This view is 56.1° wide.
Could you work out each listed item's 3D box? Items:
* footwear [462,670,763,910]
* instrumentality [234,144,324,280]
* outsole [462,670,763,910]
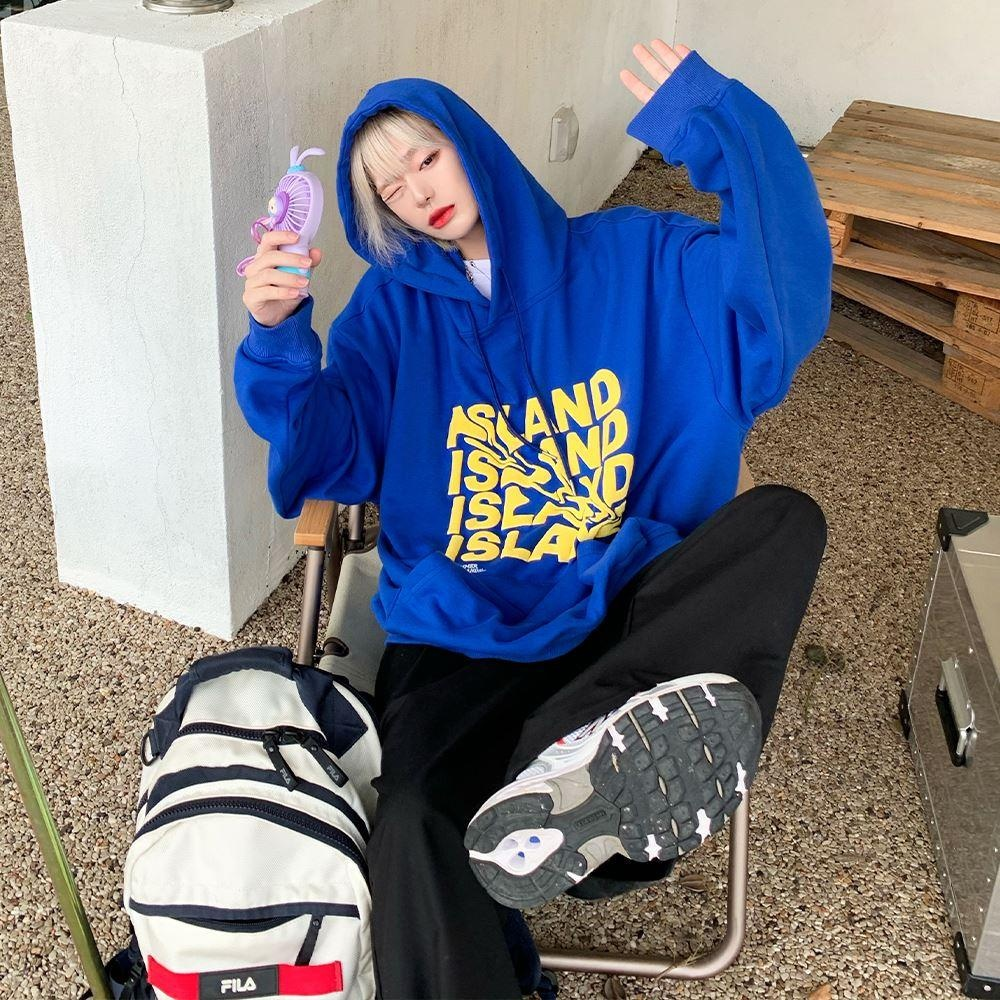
[{"bbox_3d":[0.129,0.325,1.122,0.407,0.180,0.175,-28,-1,5],"label":"footwear"},{"bbox_3d":[-0.272,-0.383,1.265,0.105,0.217,0.129,7,29,3],"label":"instrumentality"},{"bbox_3d":[0.135,0.325,1.122,0.407,0.180,0.175,-28,-1,5],"label":"outsole"}]
